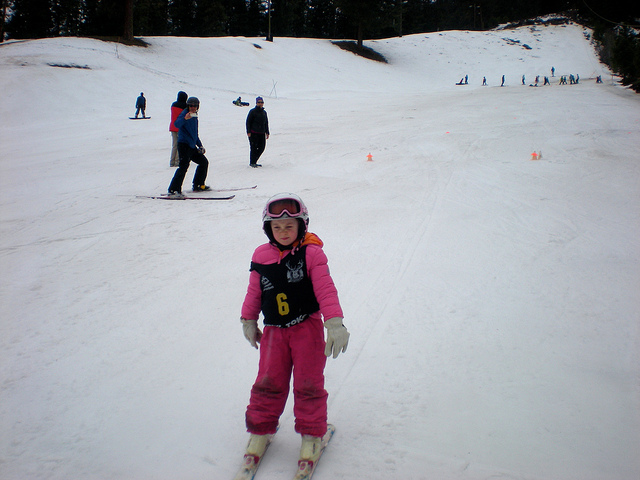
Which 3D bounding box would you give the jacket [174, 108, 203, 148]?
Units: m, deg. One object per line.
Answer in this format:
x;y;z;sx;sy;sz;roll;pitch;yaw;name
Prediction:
-2.492;-2.104;10.095;0.222;0.664;0.509;11;17;26;jacket

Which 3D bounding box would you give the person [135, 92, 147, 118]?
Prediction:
-6.437;-4.853;19.144;0.413;0.848;1.203;-2;16;-18;person

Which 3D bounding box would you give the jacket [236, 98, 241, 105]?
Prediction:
-3.543;-6.006;23.055;0.188;0.277;0.260;-1;4;-10;jacket

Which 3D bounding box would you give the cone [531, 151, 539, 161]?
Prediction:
5.043;-1.999;12.563;0.186;0.196;0.192;1;2;20;cone

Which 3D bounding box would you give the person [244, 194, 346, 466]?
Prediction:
-0.278;0.919;5.471;1.046;2.664;0.823;3;15;0;person

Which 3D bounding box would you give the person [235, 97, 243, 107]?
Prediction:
-3.507;-5.941;22.999;0.315;0.296;0.705;0;16;-14;person

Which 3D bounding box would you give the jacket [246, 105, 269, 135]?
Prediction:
-1.476;-2.862;12.580;0.485;0.655;0.319;0;16;-13;jacket

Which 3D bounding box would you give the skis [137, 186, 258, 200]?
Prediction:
-2.452;-0.935;10.587;1.804;0.144;0.203;-4;24;-15;skis

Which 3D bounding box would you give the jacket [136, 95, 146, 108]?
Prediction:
-6.279;-4.873;18.741;0.256;0.396;0.362;-4;17;-24;jacket

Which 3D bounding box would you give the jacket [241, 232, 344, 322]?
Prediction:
-0.300;0.458;5.678;1.205;1.066;0.502;-4;-6;20;jacket

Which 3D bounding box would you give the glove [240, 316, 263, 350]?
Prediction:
-0.717;0.955;5.631;0.084;0.356;0.208;-24;3;39;glove

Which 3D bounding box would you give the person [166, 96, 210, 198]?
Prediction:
-2.556;-1.809;10.340;0.642;1.858;0.916;4;15;3;person

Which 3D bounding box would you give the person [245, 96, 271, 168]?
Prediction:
-1.511;-2.640;12.952;0.529;1.624;1.201;1;15;-6;person

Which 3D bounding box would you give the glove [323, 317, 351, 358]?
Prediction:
0.167;0.968;5.344;0.256;0.377;0.329;-2;-4;9;glove

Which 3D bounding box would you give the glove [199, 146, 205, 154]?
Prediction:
-2.307;-1.806;10.480;0.126;0.189;0.050;0;-4;14;glove
